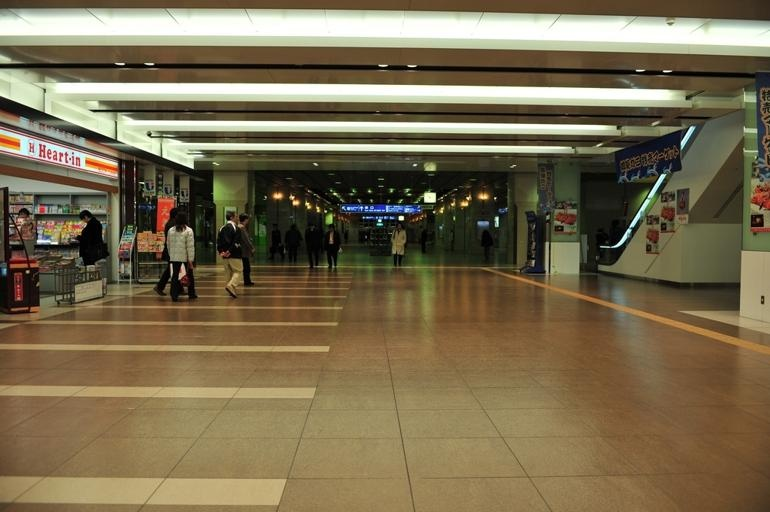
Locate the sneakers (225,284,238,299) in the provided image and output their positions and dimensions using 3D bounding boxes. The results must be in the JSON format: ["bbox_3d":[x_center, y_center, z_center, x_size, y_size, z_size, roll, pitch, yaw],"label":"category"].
[{"bbox_3d":[-3.454,0.822,13.433,0.206,0.227,0.520,38,-22,10],"label":"sneakers"}]

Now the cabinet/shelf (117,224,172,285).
[{"bbox_3d":[-6.391,-0.009,15.596,1.764,1.654,0.605,1,-1,-8],"label":"cabinet/shelf"}]

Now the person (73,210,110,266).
[{"bbox_3d":[-6.880,-0.447,13.804,0.561,1.255,0.928,-3,9,-23],"label":"person"}]

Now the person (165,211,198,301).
[{"bbox_3d":[-4.499,0.011,12.912,0.571,1.933,0.814,1,9,5],"label":"person"}]

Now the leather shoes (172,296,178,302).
[{"bbox_3d":[-4.533,0.933,12.803,0.115,0.118,0.106,-3,-13,11],"label":"leather shoes"}]

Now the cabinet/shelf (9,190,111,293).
[{"bbox_3d":[-7.875,-0.339,14.100,2.752,2.493,0.928,0,-4,-6],"label":"cabinet/shelf"}]
